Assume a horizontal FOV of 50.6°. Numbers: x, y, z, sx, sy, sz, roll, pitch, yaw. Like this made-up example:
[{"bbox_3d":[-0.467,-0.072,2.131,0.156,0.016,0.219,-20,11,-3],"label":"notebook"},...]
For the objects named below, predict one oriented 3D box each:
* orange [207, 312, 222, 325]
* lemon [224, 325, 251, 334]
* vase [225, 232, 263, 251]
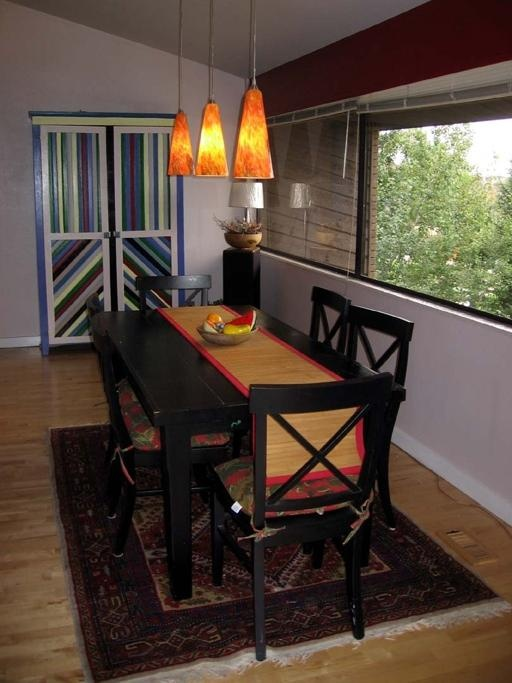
[{"bbox_3d":[-0.190,-0.103,2.512,0.059,0.073,0.055,7,-11,-24],"label":"orange"},{"bbox_3d":[-0.076,-0.059,2.377,0.099,0.043,0.044,-6,9,-29],"label":"lemon"},{"bbox_3d":[-0.101,-0.885,4.756,0.215,0.111,0.213,-4,12,-27],"label":"vase"}]
